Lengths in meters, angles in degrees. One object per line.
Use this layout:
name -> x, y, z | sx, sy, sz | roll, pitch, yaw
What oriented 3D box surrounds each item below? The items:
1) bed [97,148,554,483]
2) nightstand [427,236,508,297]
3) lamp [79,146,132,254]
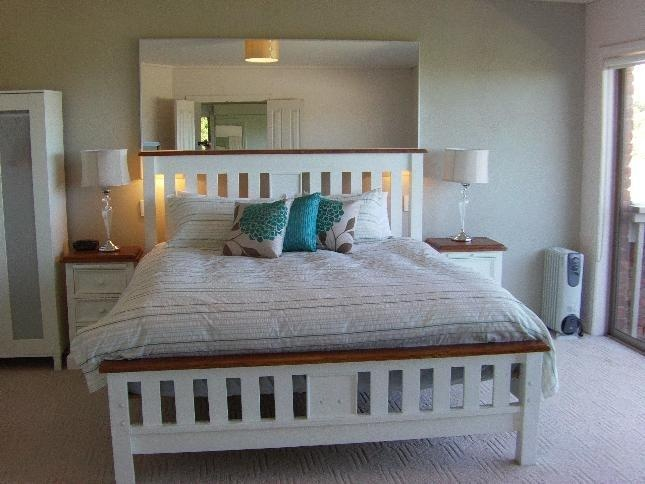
bed -> -0.105, 0.235, 3.755 | 2.275, 1.302, 2.183 | -2, 14, -7
nightstand -> 1.109, 0.161, 4.421 | 0.545, 0.522, 0.391 | -2, 12, -8
lamp -> -1.635, -0.303, 4.239 | 0.378, 0.772, 0.372 | -4, 5, -27
